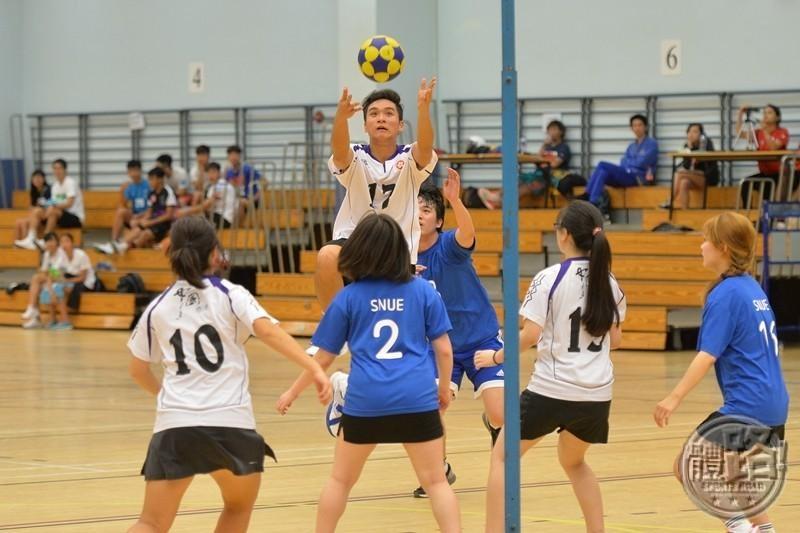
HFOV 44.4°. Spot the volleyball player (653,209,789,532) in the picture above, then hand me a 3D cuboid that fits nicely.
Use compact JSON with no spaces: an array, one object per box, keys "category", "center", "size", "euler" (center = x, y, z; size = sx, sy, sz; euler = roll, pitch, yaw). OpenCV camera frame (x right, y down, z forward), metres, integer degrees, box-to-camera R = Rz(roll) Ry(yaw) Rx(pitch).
[{"category":"volleyball player","center":[1.838,0.610,6.314],"size":[0.878,1.935,1.150],"euler":[-1,-1,-2]}]

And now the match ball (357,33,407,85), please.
[{"category":"match ball","center":[-0.149,-1.512,7.251],"size":[0.371,0.381,0.363],"euler":[1,4,0]}]

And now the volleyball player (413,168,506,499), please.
[{"category":"volleyball player","center":[0.418,0.443,6.742],"size":[0.738,2.065,1.044],"euler":[0,-2,-1]}]
